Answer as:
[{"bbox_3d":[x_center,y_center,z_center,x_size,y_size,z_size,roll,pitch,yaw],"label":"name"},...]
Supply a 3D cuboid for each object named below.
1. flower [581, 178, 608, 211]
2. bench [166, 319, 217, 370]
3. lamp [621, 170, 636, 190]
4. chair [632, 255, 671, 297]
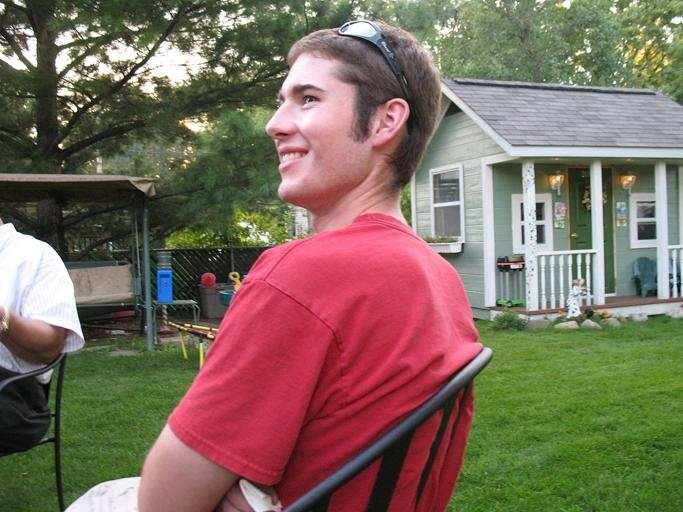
[{"bbox_3d":[4.586,-1.064,11.319,0.277,0.497,0.682,3,7,42],"label":"flower"},{"bbox_3d":[-1.807,1.036,7.235,0.233,0.261,1.133,-1,2,-25],"label":"bench"},{"bbox_3d":[5.365,-1.391,11.508,0.443,0.357,0.198,-5,6,-33],"label":"lamp"},{"bbox_3d":[5.629,0.382,11.387,0.565,0.621,0.642,5,9,45],"label":"chair"}]
